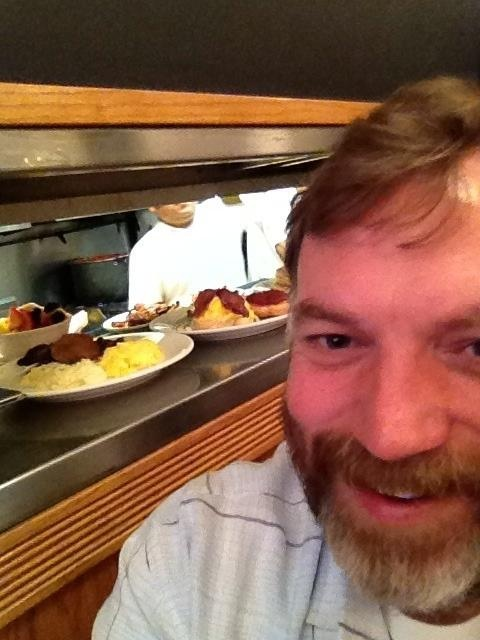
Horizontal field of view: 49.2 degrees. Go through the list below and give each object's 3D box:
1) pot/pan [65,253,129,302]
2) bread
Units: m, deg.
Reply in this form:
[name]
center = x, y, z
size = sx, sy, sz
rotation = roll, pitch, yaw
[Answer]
[pot/pan]
center = -0.353, -0.106, 1.331
size = 0.143, 0.085, 0.105
rotation = -1, 12, -3
[bread]
center = 0.006, -0.031, 1.307
size = 0.188, 0.063, 0.127
rotation = -3, 4, -26
